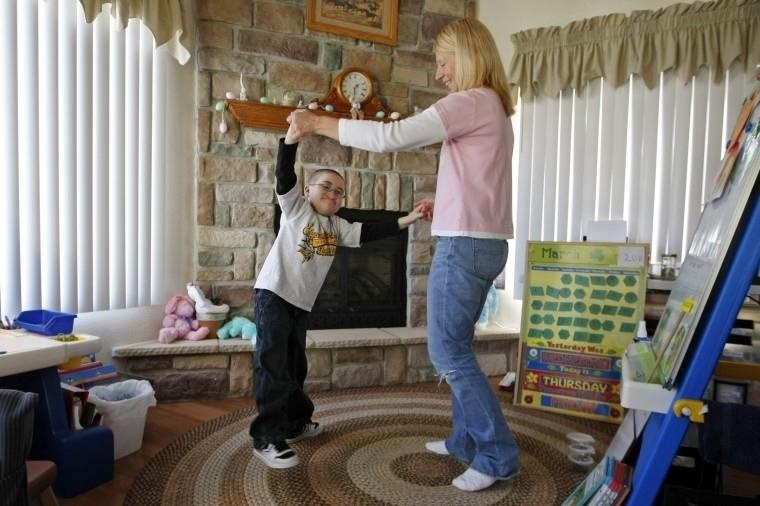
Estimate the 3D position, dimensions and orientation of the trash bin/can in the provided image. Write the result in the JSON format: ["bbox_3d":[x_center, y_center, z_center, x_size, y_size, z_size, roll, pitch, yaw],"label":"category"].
[{"bbox_3d":[-1.398,0.840,3.071,0.411,0.387,0.348,-1,3,-40],"label":"trash bin/can"}]

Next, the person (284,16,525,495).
[{"bbox_3d":[0.295,0.004,2.729,0.844,2.190,0.534,3,13,12],"label":"person"}]

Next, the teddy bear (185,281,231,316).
[{"bbox_3d":[-1.154,0.328,3.746,0.234,0.099,0.200,30,-6,-30],"label":"teddy bear"}]

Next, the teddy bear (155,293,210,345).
[{"bbox_3d":[-1.309,0.467,3.783,0.365,0.346,0.290,5,-13,-35],"label":"teddy bear"}]

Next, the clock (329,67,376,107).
[{"bbox_3d":[-0.219,-1.184,4.128,0.272,0.270,0.273,-20,15,-28],"label":"clock"}]

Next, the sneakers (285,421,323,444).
[{"bbox_3d":[-0.417,0.983,3.154,0.077,0.087,0.211,9,18,41],"label":"sneakers"}]

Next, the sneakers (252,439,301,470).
[{"bbox_3d":[-0.527,1.015,2.861,0.230,0.101,0.109,1,0,34],"label":"sneakers"}]

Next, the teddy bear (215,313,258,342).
[{"bbox_3d":[-0.945,0.494,3.730,0.221,0.171,0.093,2,45,6],"label":"teddy bear"}]
